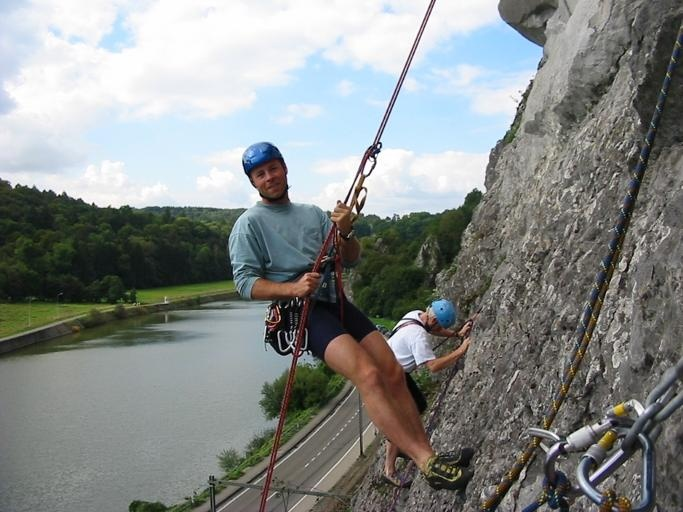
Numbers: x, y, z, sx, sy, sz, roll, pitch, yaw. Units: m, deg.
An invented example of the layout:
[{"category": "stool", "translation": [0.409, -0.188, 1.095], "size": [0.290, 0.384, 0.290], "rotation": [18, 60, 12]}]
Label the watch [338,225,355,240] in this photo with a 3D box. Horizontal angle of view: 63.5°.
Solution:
[{"category": "watch", "translation": [0.034, -0.169, 4.061], "size": [0.104, 0.060, 0.082], "rotation": [-1, 15, -23]}]
